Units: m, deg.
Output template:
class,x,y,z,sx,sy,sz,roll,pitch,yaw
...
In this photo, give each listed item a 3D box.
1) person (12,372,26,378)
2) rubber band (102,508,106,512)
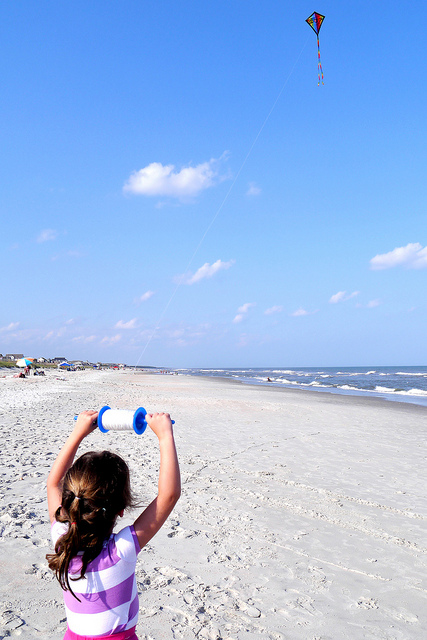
class,x,y,z,sx,sy,sz,roll,pitch,yaw
person,-13.492,3.892,31.250,0.653,0.370,0.879,7,-6,-12
rubber band,-0.323,0.556,1.316,0.010,0.011,0.003,11,10,24
